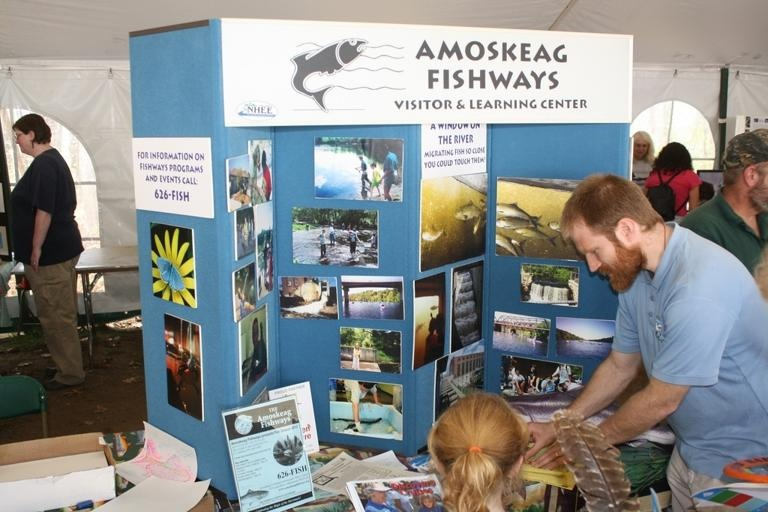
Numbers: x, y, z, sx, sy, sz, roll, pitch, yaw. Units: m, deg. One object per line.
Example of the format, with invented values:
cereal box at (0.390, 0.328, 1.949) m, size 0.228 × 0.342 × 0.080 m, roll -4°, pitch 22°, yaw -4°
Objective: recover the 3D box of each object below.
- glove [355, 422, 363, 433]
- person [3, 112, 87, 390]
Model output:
glove at (-0.136, 0.919, 3.299) m, size 0.023 × 0.048 × 0.064 m, roll 2°, pitch -4°, yaw -37°
person at (-2.955, 0.148, 5.480) m, size 0.533 × 2.167 × 0.353 m, roll -7°, pitch 11°, yaw -29°
